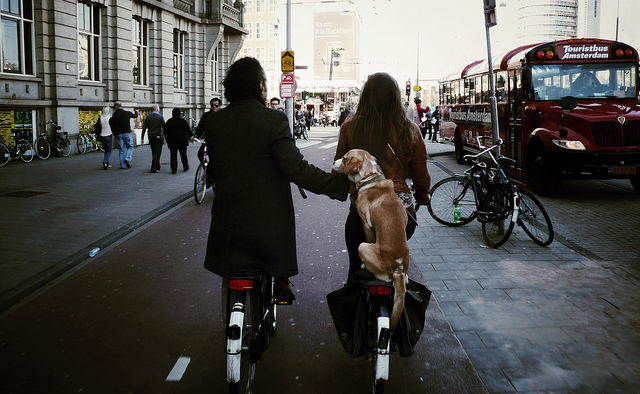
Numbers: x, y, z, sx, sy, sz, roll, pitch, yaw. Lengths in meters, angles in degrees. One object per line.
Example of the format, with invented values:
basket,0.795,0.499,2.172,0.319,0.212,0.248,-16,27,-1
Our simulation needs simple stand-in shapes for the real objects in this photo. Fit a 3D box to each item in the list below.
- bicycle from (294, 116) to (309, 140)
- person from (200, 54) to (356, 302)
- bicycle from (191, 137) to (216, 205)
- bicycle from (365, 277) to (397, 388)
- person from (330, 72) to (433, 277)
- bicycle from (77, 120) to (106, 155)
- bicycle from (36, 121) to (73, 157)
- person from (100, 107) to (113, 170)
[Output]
bicycle,-1.194,-4.794,34.546,1.149,1.403,2.040,-4,5,-4
person,-0.563,-0.303,4.899,1.238,2.119,0.618,-1,9,-6
bicycle,-3.006,-0.562,12.484,0.463,1.309,1.269,0,10,-3
bicycle,0.570,1.313,4.674,0.299,0.988,0.361,2,9,12
person,0.713,0.063,5.802,1.075,2.982,0.916,4,13,9
bicycle,-10.609,-2.715,22.569,0.923,1.315,2.025,0,13,21
bicycle,-11.205,-2.371,20.265,0.815,1.430,2.200,2,8,9
person,-7.890,-2.217,17.895,0.409,2.088,1.533,-4,10,-24
